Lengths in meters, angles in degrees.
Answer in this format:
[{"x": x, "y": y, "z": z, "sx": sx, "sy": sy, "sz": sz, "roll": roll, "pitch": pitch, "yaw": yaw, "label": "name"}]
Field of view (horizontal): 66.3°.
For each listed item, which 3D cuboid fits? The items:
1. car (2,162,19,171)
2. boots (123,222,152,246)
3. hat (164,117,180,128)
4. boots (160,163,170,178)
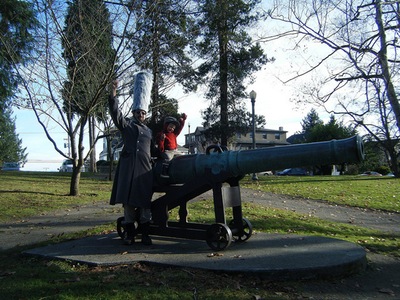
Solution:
[{"x": -30.921, "y": 2.724, "z": 49.801, "sx": 2.510, "sy": 1.345, "sz": 1.481, "roll": 3, "pitch": -6, "yaw": -12, "label": "car"}, {"x": -1.182, "y": 1.616, "z": 5.824, "sx": 0.473, "sy": 0.462, "sz": 0.416, "roll": 1, "pitch": -20, "yaw": -6, "label": "boots"}, {"x": -0.597, "y": -0.580, "z": 6.483, "sx": 0.300, "sy": 0.149, "sz": 0.392, "roll": 2, "pitch": -2, "yaw": -9, "label": "hat"}, {"x": -0.666, "y": 0.399, "z": 5.840, "sx": 0.218, "sy": 0.249, "sz": 0.179, "roll": 4, "pitch": 5, "yaw": 18, "label": "boots"}]
